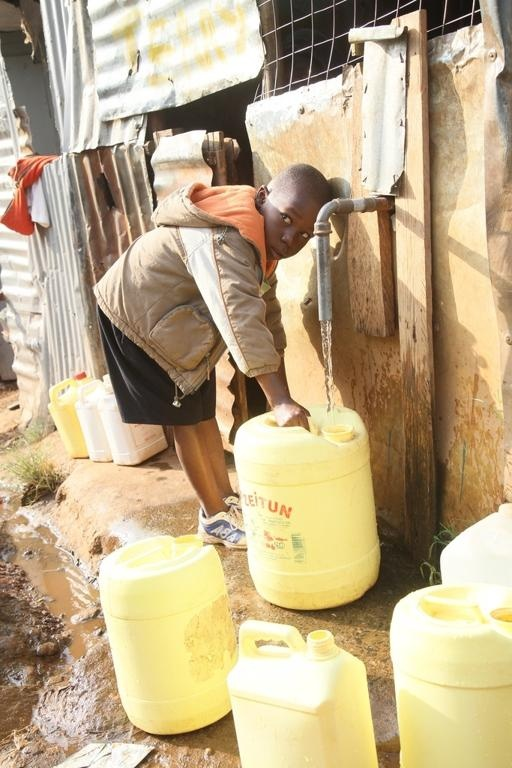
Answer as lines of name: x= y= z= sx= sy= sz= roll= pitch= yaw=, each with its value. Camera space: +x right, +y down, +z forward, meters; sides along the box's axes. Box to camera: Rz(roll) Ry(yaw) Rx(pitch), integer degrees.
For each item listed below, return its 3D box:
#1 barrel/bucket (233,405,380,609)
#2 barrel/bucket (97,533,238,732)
barrel/bucket: x=0.182 y=0.471 z=2.327 sx=0.489 sy=0.729 sz=0.318 roll=-8 pitch=21 yaw=5
barrel/bucket: x=-0.261 y=0.768 z=2.015 sx=0.380 sy=0.543 sz=0.352 roll=-8 pitch=20 yaw=3
